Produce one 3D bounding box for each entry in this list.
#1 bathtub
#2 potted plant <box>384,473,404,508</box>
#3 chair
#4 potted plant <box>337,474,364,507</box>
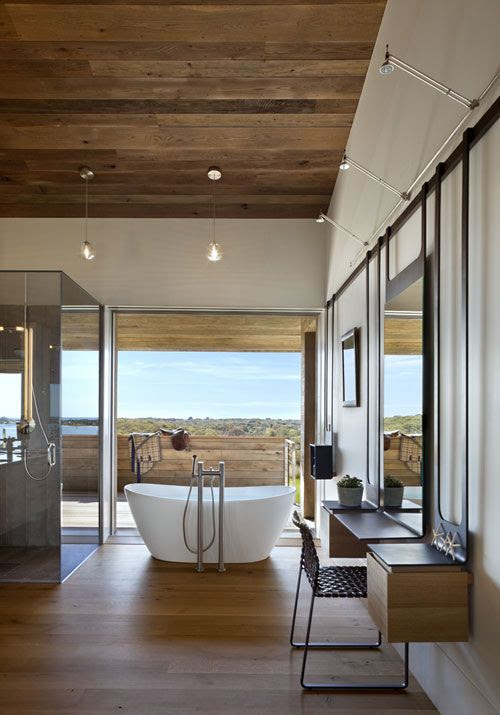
[{"bbox_3d":[-0.285,1.272,4.804,1.283,0.543,0.977,-1,-2,4],"label":"bathtub"},{"bbox_3d":[0.715,0.670,3.002,0.107,0.143,0.134,-1,-9,-1],"label":"potted plant"},{"bbox_3d":[0.379,1.053,2.969,0.564,0.807,0.895,-1,-5,0],"label":"chair"},{"bbox_3d":[0.576,0.767,3.504,0.141,0.149,0.146,5,-12,-23],"label":"potted plant"}]
